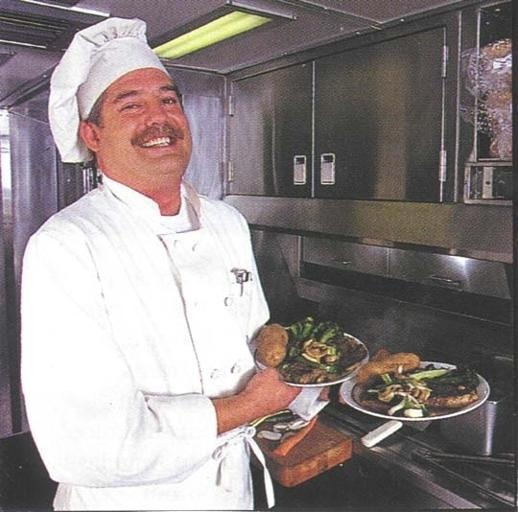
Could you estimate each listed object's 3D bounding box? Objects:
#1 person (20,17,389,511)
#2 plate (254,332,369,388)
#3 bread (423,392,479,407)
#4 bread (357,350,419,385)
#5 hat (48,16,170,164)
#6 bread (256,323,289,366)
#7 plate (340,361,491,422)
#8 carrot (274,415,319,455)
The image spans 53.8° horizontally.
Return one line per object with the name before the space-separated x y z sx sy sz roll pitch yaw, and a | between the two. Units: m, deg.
person | -0.191 0.065 0.920 0.464 0.930 0.231 -8 7 -31
plate | 0.126 0.207 1.000 0.173 0.017 0.146 -7 11 -17
bread | 0.384 0.286 1.009 0.133 0.026 0.028 -4 -36 -1
bread | 0.289 0.230 1.122 0.139 0.028 0.114 -1 22 -10
hat | -0.254 -0.267 0.838 0.236 0.205 0.090 -15 30 -38
bread | 0.023 0.171 0.992 0.070 0.068 0.036 16 -34 -20
plate | 0.309 0.270 1.058 0.290 0.028 0.279 7 15 29
carrot | 0.069 0.369 1.025 0.027 0.012 0.115 20 23 33
